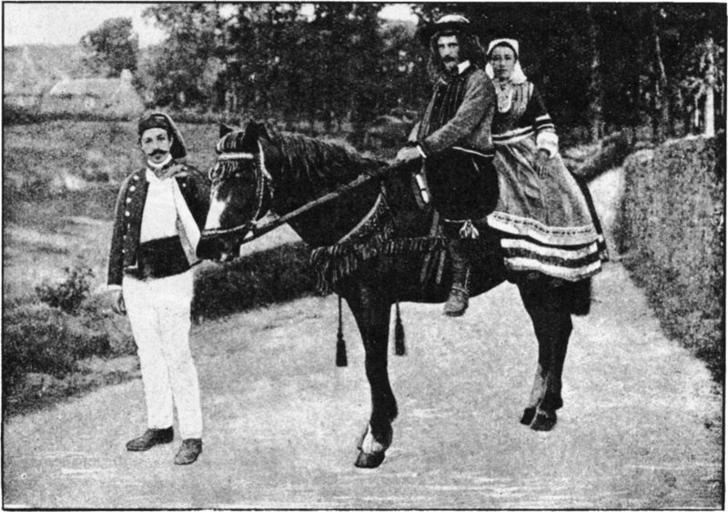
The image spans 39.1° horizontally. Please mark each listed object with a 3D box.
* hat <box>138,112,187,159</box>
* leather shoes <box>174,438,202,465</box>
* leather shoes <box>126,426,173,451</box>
[{"bbox_3d":[-1.626,-1.008,8.280,0.316,0.400,0.210,0,16,5],"label":"hat"},{"bbox_3d":[-1.413,1.564,8.208,0.142,0.111,0.255,14,53,16],"label":"leather shoes"},{"bbox_3d":[-1.707,1.470,8.204,0.383,0.164,0.154,-7,13,-9],"label":"leather shoes"}]
